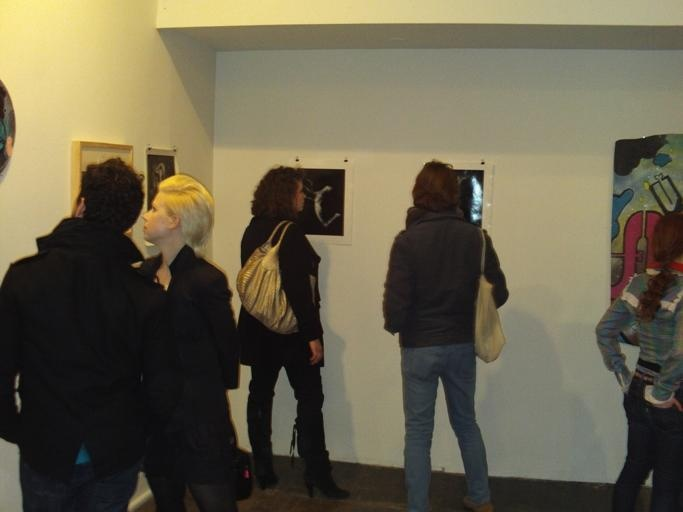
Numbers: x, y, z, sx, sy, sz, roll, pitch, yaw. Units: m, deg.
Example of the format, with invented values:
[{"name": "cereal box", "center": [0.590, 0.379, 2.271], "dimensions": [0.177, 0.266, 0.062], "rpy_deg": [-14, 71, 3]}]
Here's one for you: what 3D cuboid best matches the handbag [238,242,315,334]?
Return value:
[{"name": "handbag", "center": [-0.433, 0.179, 3.861], "dimensions": [0.347, 0.476, 0.179], "rpy_deg": [-4, -3, -5]}]
